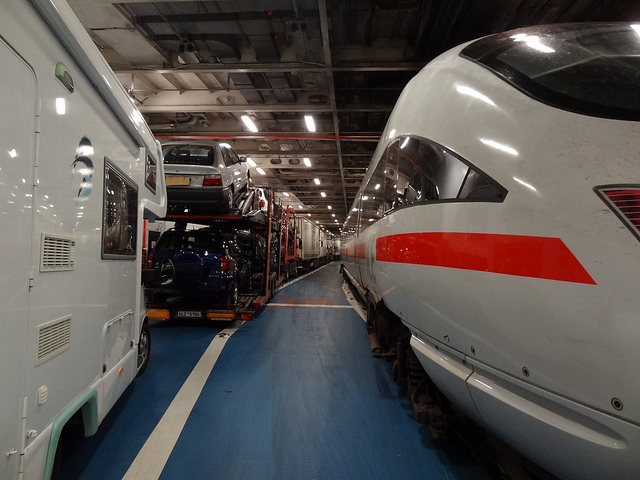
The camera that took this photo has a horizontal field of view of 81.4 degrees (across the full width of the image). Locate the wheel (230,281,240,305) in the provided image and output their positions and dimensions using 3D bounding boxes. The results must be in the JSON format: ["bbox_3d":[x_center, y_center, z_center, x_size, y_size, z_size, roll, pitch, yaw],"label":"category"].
[{"bbox_3d":[-1.662,0.999,7.082,0.132,0.493,0.443,2,-2,3],"label":"wheel"}]

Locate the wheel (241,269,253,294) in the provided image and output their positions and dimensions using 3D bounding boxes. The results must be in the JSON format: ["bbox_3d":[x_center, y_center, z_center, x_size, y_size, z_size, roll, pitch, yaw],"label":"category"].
[{"bbox_3d":[-1.725,0.959,8.528,0.159,0.598,0.537,2,-2,1],"label":"wheel"}]

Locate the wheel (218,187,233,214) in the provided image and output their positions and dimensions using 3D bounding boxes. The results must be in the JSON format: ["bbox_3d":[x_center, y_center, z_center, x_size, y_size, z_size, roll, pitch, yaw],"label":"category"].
[{"bbox_3d":[-1.700,-0.732,6.547,0.109,0.411,0.370,1,-6,2],"label":"wheel"}]

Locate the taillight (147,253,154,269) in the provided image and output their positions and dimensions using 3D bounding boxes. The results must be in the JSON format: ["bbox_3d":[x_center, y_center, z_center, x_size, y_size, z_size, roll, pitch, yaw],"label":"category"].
[{"bbox_3d":[-3.020,0.355,6.545,0.075,0.244,0.232,-1,5,-25],"label":"taillight"}]

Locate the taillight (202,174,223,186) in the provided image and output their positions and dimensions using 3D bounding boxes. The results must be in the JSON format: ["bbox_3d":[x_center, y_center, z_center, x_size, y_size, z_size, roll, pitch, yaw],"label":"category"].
[{"bbox_3d":[-1.855,-1.024,6.319,0.191,0.147,0.212,3,1,-3],"label":"taillight"}]

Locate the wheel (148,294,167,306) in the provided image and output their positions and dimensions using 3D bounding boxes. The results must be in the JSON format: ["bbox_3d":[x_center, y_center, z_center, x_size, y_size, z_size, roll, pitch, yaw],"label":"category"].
[{"bbox_3d":[-3.164,1.155,7.136,0.221,0.072,0.273,-1,-25,4],"label":"wheel"}]

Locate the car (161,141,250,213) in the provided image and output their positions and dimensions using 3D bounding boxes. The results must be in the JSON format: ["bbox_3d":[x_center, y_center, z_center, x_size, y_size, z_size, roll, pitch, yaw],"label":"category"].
[{"bbox_3d":[-2.064,-1.173,6.761,1.479,1.315,1.185,-2,6,-32],"label":"car"}]

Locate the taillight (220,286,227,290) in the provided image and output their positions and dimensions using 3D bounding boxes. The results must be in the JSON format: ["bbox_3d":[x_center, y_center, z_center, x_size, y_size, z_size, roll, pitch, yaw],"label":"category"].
[{"bbox_3d":[-1.743,0.855,6.643,0.098,0.064,0.025,0,5,-19],"label":"taillight"}]

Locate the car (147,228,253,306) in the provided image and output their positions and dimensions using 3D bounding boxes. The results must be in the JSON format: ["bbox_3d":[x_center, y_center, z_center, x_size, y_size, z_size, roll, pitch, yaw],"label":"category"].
[{"bbox_3d":[-2.466,0.558,8.036,1.690,1.511,3.129,2,-1,0],"label":"car"}]

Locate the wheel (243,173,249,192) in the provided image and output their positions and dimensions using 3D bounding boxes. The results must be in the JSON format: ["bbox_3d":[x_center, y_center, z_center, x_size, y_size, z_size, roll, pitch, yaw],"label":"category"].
[{"bbox_3d":[-1.583,-1.178,7.836,0.068,0.231,0.160,7,10,15],"label":"wheel"}]
